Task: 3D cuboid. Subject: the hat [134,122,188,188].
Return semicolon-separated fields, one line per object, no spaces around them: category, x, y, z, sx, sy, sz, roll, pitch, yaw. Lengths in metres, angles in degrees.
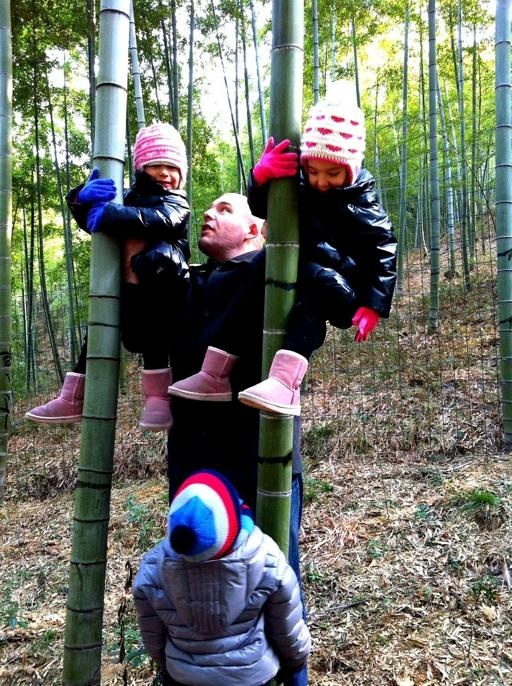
hat;-0.308;-0.643;2.396;0.159;0.173;0.199;-3;1;1

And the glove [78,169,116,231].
glove;-0.476;-0.414;2.055;0.123;0.193;0.098;-2;3;10

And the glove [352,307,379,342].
glove;0.318;-0.065;2.091;0.066;0.109;0.046;21;-21;-11

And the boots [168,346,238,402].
boots;-0.161;0.093;2.127;0.233;0.149;0.099;4;1;-37

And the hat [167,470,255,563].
hat;-0.116;0.439;1.795;0.132;0.207;0.217;-1;3;27

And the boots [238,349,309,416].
boots;0.049;0.105;1.919;0.125;0.164;0.257;8;-4;36

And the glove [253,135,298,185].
glove;0.053;-0.510;1.961;0.127;0.137;0.087;-1;3;32
